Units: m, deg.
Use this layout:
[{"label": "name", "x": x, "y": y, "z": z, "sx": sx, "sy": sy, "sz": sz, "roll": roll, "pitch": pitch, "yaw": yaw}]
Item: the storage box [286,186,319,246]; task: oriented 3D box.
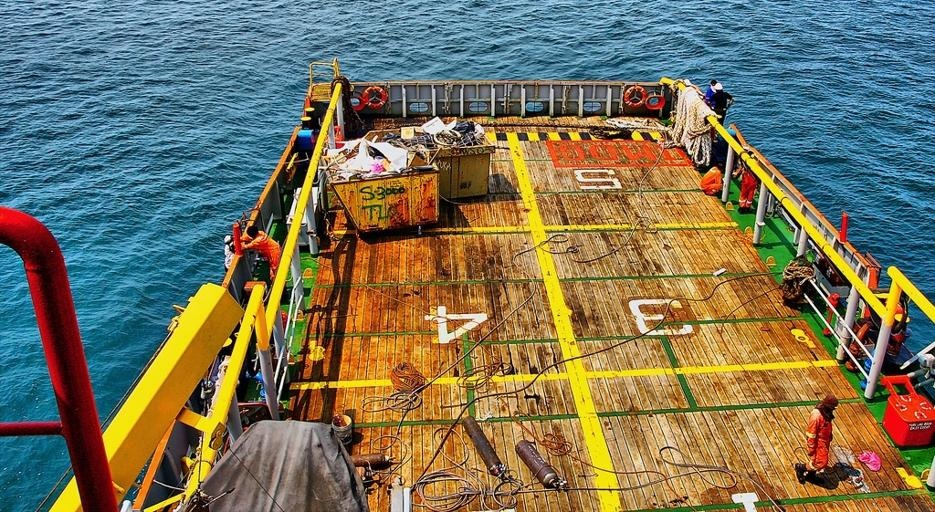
[{"label": "storage box", "x": -6.544, "y": -1.472, "z": 27.398, "sx": 1.044, "sy": 1.140, "sz": 2.972, "roll": -3, "pitch": 50, "yaw": -2}]

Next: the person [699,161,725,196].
[{"label": "person", "x": 10.987, "y": -3.285, "z": 30.858, "sx": 0.956, "sy": 0.832, "sz": 1.105, "roll": 9, "pitch": 47, "yaw": 15}]

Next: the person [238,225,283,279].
[{"label": "person", "x": -8.125, "y": -0.051, "z": 26.741, "sx": 1.352, "sy": 2.100, "sz": 0.669, "roll": -7, "pitch": 60, "yaw": -3}]

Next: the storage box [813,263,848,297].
[{"label": "storage box", "x": 13.816, "y": 1.006, "z": 26.094, "sx": 1.237, "sy": 0.501, "sz": 1.336, "roll": 13, "pitch": 47, "yaw": 19}]

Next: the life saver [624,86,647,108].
[{"label": "life saver", "x": 8.867, "y": -8.302, "z": 36.235, "sx": 1.220, "sy": 1.085, "sz": 0.699, "roll": 3, "pitch": 47, "yaw": 10}]

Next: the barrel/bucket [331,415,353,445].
[{"label": "barrel/bucket", "x": -4.053, "y": 5.720, "z": 22.491, "sx": 0.854, "sy": 0.873, "sz": 0.866, "roll": -6, "pitch": 11, "yaw": 1}]

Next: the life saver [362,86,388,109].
[{"label": "life saver", "x": -4.880, "y": -8.258, "z": 36.296, "sx": 1.374, "sy": 1.139, "sz": 0.568, "roll": -7, "pitch": 46, "yaw": 0}]
